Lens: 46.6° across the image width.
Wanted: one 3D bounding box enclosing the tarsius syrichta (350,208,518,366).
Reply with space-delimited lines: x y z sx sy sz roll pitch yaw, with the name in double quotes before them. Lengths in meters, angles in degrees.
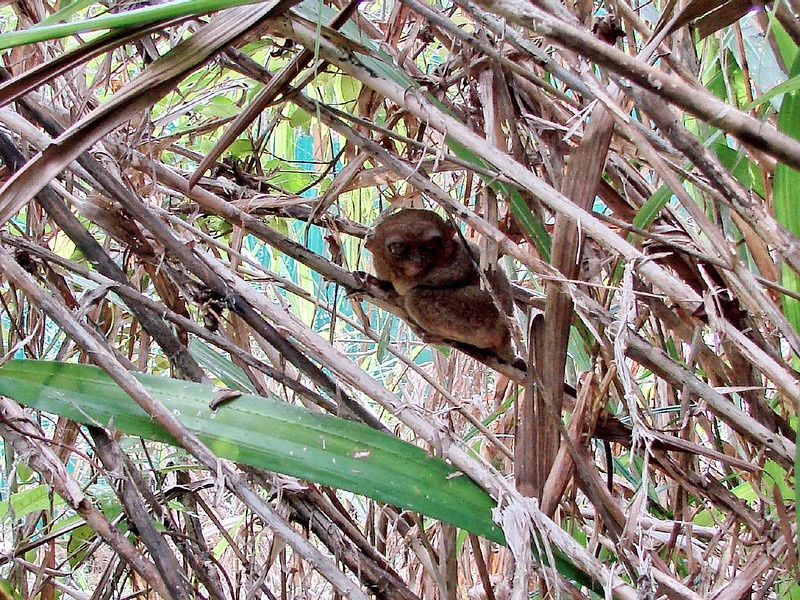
"tarsius syrichta" 0.100 0.000 3.182 0.425 0.710 0.355 -20 -23 -2
